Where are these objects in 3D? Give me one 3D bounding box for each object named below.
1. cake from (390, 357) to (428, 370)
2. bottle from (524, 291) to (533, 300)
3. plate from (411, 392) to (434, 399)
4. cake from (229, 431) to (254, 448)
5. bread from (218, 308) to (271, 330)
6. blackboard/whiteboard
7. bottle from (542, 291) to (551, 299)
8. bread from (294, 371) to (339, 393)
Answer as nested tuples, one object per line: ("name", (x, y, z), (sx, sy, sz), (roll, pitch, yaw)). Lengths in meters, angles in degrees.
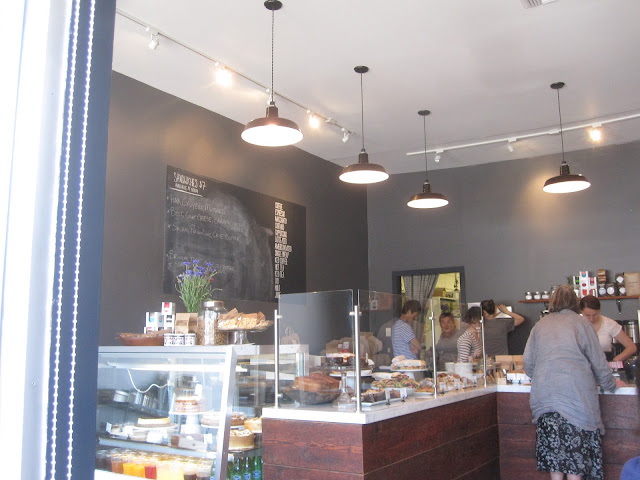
("cake", (0.504, 0.708, 2.931), (0.169, 0.064, 0.126), (5, -11, -21))
("bottle", (2.683, 0.719, 6.592), (0.065, 0.094, 0.095), (0, -17, 10))
("plate", (0.634, 0.935, 3.110), (0.174, 0.042, 0.049), (6, -12, -42))
("cake", (-0.442, 1.095, 2.835), (0.116, 0.052, 0.118), (-4, -11, 38))
("bread", (-0.420, 0.472, 3.056), (0.247, 0.124, 0.368), (-7, -10, 26))
("blackboard/whiteboard", (-0.816, 0.024, 5.445), (0.068, 1.240, 1.977), (-8, -11, 35))
("bottle", (2.832, 0.692, 6.430), (0.080, 0.157, 0.082), (1, 2, 0))
("bread", (-0.030, 0.718, 2.609), (0.247, 0.099, 0.073), (-5, -9, 17))
